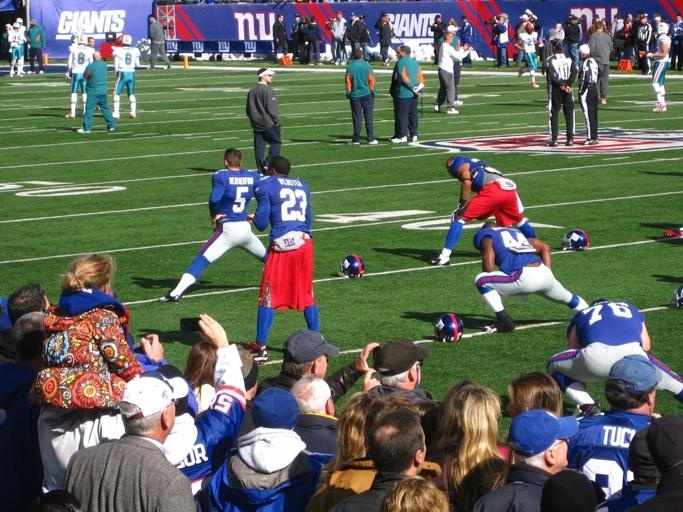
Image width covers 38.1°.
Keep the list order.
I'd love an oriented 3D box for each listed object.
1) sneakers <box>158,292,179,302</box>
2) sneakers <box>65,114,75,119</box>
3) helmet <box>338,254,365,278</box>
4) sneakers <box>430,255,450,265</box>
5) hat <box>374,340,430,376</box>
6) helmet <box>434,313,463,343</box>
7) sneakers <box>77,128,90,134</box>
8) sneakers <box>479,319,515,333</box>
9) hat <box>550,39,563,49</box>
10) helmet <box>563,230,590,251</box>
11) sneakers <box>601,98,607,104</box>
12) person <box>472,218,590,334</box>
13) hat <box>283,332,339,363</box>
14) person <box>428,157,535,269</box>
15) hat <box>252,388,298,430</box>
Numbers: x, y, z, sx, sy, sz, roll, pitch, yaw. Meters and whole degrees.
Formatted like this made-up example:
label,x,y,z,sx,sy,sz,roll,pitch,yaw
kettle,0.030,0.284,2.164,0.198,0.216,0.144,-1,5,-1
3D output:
label,x,y,z,sx,sy,sz,roll,pitch,yaw
sneakers,-1.947,0.467,11.114,0.249,0.101,0.092,5,16,12
sneakers,-7.509,-3.766,27.092,0.363,0.160,0.137,10,13,39
helmet,0.133,0.114,12.065,0.224,0.255,0.307,3,19,-14
sneakers,1.255,0.057,12.467,0.247,0.113,0.092,3,11,26
hat,0.418,0.691,6.741,0.316,0.154,0.202,-26,30,-29
helmet,1.036,0.707,9.710,0.221,0.250,0.293,-4,18,-14
sneakers,-6.414,-3.029,24.303,0.255,0.110,0.121,9,20,12
sneakers,1.592,0.712,10.050,0.350,0.153,0.128,2,3,8
hat,4.434,-4.264,20.123,0.287,0.157,0.359,0,16,-3
helmet,3.117,-0.210,12.941,0.306,0.260,0.235,19,23,28
sneakers,7.548,-4.346,28.163,0.097,0.119,0.294,5,8,13
person,1.919,0.211,10.015,1.551,0.949,0.897,7,12,34
hat,-0.219,0.636,7.035,0.286,0.142,0.206,-6,20,-17
person,1.813,-0.587,12.401,1.400,1.395,0.735,-3,5,1
hat,-0.388,0.887,5.792,0.267,0.241,0.394,-8,7,-5
